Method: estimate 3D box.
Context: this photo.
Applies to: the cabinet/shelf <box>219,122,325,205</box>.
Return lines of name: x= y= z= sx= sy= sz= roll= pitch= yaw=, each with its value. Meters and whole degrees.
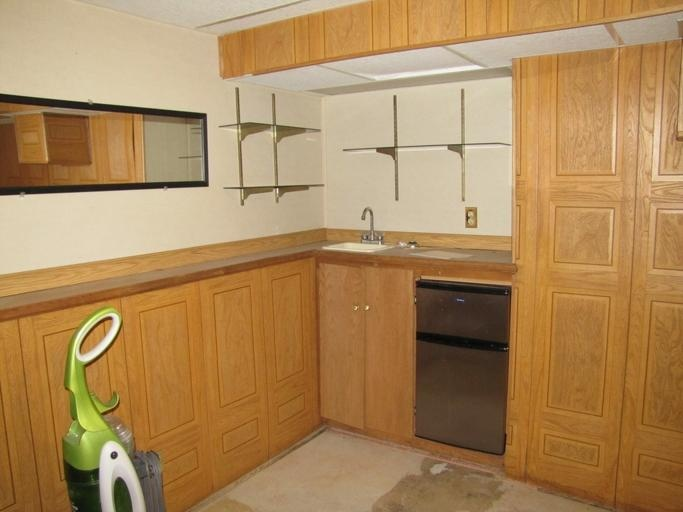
cabinet/shelf: x=-0.478 y=-0.702 z=3.958 sx=0.887 sy=0.556 sz=0.217 roll=-8 pitch=7 yaw=-35
